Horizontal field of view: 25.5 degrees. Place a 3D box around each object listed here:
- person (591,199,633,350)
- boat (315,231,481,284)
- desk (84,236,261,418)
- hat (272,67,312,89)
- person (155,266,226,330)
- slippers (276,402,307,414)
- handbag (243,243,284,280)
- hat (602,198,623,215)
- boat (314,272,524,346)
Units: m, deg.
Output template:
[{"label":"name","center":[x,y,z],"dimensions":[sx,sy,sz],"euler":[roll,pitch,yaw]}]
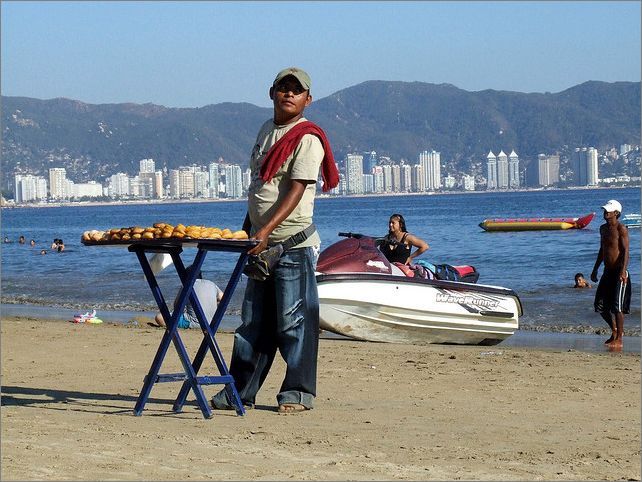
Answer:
[{"label":"person","center":[4.093,0.436,19.984],"dimensions":[0.523,2.119,0.937],"euler":[0,3,11]},{"label":"boat","center":[1.038,0.210,20.252],"dimensions":[1.898,0.608,0.900],"euler":[8,-4,-17]},{"label":"desk","center":[-1.548,0.870,15.151],"dimensions":[1.855,1.685,1.263],"euler":[5,3,15]},{"label":"hat","center":[-0.318,-1.766,14.933],"dimensions":[0.361,0.221,0.399],"euler":[0,3,-4]},{"label":"person","center":[-1.839,0.764,19.388],"dimensions":[0.644,0.899,0.913],"euler":[20,8,43]},{"label":"slippers","center":[-0.323,1.772,15.197],"dimensions":[0.265,0.068,0.112],"euler":[6,-1,-5]},{"label":"handbag","center":[-0.612,0.187,14.858],"dimensions":[0.316,0.377,0.177],"euler":[42,0,-23]},{"label":"hat","center":[4.136,-0.540,19.980],"dimensions":[0.274,0.154,0.173],"euler":[8,-7,-36]},{"label":"boat","center":[1.513,0.839,20.086],"dimensions":[3.186,0.925,1.106],"euler":[4,-6,-15]}]
